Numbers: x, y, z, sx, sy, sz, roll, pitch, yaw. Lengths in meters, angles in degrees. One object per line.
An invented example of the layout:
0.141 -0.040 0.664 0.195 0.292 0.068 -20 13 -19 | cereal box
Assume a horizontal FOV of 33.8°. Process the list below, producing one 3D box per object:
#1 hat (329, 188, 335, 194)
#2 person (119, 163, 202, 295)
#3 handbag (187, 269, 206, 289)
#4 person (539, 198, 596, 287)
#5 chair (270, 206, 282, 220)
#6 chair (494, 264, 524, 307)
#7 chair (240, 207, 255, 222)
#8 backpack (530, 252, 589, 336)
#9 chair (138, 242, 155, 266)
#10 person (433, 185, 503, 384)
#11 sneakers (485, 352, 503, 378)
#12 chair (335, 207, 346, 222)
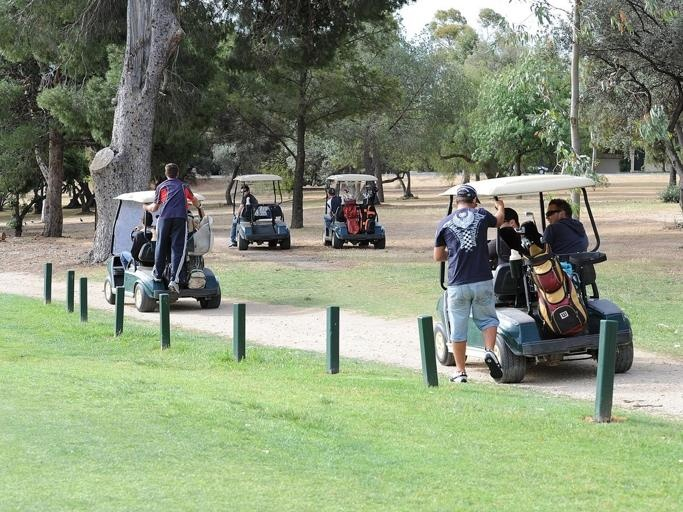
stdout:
-0.276 -1.611 28.504 0.112 0.149 0.150 7 23 17 | hat
-2.716 -0.411 17.889 0.603 1.931 0.795 0 0 -37 | person
-2.370 0.405 18.355 0.210 0.298 0.299 2 6 -7 | handbag
2.861 -0.150 14.535 0.566 1.181 0.556 5 17 21 | person
-1.728 -1.126 29.543 0.230 0.334 0.718 0 1 8 | chair
2.117 0.393 14.288 0.340 0.575 0.566 1 10 7 | chair
-2.439 -1.076 29.141 0.281 0.399 0.384 2 -4 -7 | chair
2.640 0.433 13.839 0.571 1.101 0.419 -25 -1 40 | backpack
-3.248 -0.040 18.685 0.298 0.369 0.204 3 21 -32 | chair
1.529 0.330 13.647 0.871 2.363 0.510 0 0 -9 | person
1.835 1.322 13.759 0.156 0.389 0.165 -11 35 22 | sneakers
-0.040 -1.069 29.030 0.246 0.381 0.369 0 0 1 | chair
